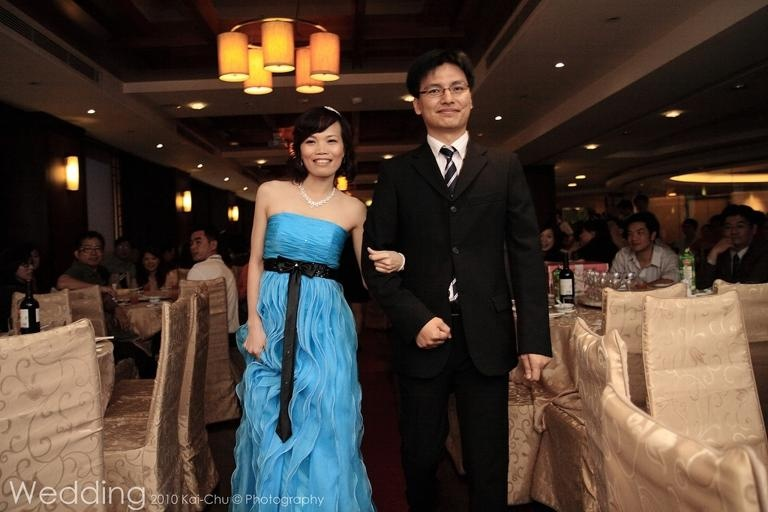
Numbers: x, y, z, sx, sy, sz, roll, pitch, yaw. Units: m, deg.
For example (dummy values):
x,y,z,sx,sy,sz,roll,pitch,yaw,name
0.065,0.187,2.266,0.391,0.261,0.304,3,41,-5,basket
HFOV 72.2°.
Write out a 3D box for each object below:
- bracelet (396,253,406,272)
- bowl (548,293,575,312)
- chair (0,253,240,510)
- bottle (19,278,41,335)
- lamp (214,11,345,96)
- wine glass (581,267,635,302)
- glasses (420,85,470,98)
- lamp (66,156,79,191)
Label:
x,y,z,sx,sy,sz,roll,pitch,yaw,name
0.078,0.027,2.218,0.025,0.064,0.056,4,-16,-9,bracelet
1.114,0.310,3.355,0.119,0.029,0.204,-1,6,0,bowl
-1.438,0.786,3.377,1.056,1.777,1.332,1,10,1,chair
-1.949,0.268,2.901,0.091,0.289,0.658,2,-3,-34,bottle
-1.013,-1.995,4.898,1.011,0.862,0.928,1,-3,-19,lamp
1.493,0.191,3.602,0.219,0.164,0.245,1,-5,-3,wine glass
0.250,-0.690,2.216,0.193,0.047,0.038,0,-3,4,glasses
-4.446,-1.186,7.514,0.136,0.473,0.253,1,-3,-17,lamp
